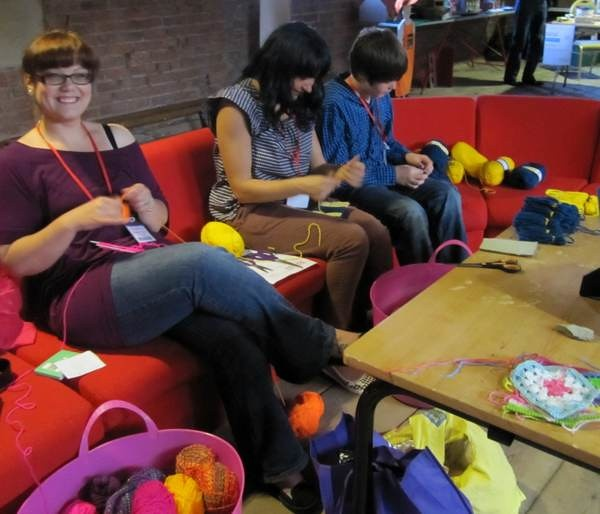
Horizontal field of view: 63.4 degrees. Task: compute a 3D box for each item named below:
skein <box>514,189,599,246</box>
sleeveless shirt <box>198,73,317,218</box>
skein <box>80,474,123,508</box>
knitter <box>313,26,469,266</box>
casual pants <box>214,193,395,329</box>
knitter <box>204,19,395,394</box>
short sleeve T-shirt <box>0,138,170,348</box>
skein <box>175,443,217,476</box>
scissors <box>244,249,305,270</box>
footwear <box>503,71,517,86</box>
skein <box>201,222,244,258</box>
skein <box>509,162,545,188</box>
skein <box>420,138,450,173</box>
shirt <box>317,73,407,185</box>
[{"bbox_3d":[0.865,-0.119,1.659,0.206,0.097,0.201,14,62,28],"label":"skein"},{"bbox_3d":[-0.170,-0.442,1.980,0.275,0.484,0.432,22,33,33],"label":"sleeveless shirt"},{"bbox_3d":[-0.473,0.545,1.153,0.074,0.035,0.062,-16,45,-35],"label":"skein"},{"bbox_3d":[0.478,-0.453,2.455,0.510,1.252,0.837,-32,41,-31],"label":"knitter"},{"bbox_3d":[0.096,-0.104,2.237,0.604,0.715,0.534,8,21,30],"label":"casual pants"},{"bbox_3d":[0.040,-0.250,2.102,0.840,1.390,0.526,18,35,26],"label":"knitter"},{"bbox_3d":[-0.651,-0.025,1.427,0.296,0.555,0.513,8,17,31],"label":"short sleeve T-shirt"},{"bbox_3d":[-0.266,0.493,1.206,0.072,0.042,0.072,5,8,-12],"label":"skein"},{"bbox_3d":[-0.105,0.010,1.897,0.259,0.023,0.081,16,32,31],"label":"scissors"},{"bbox_3d":[2.845,-2.401,6.542,0.187,0.169,0.122,-6,26,-6],"label":"footwear"},{"bbox_3d":[-0.338,-0.089,1.945,0.162,0.070,0.198,-19,-5,0],"label":"skein"},{"bbox_3d":[1.216,-0.428,2.633,0.142,0.107,0.152,24,37,32],"label":"skein"},{"bbox_3d":[0.750,-0.535,2.679,0.129,0.074,0.204,-28,40,39],"label":"skein"},{"bbox_3d":[0.283,-0.607,2.341,0.377,0.536,0.480,17,36,32],"label":"shirt"}]
